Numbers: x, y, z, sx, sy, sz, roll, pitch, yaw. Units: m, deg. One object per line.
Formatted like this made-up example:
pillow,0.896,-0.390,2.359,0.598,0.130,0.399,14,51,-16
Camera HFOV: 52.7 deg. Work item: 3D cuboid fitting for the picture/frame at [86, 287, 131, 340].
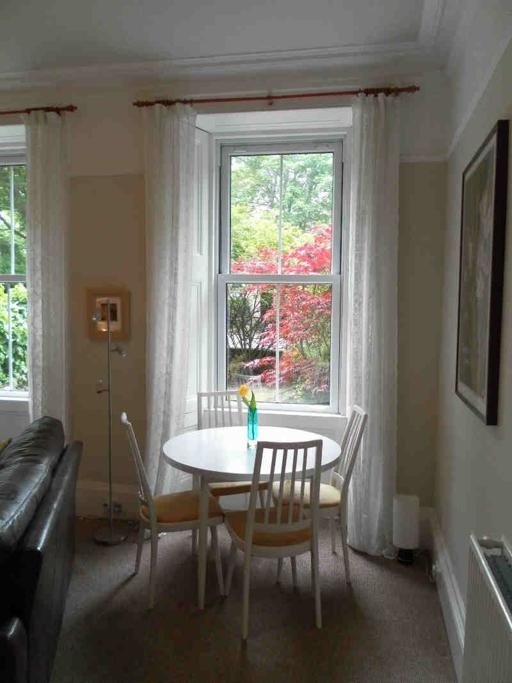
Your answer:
picture/frame,-0.960,-0.192,3.427,0.265,0.440,0.039,0,4,0

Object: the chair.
chair,0.013,0.696,2.456,0.838,0.762,0.980,-1,6,1

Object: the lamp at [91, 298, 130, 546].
lamp,-0.921,0.451,3.266,0.206,1.485,0.585,0,1,-18
